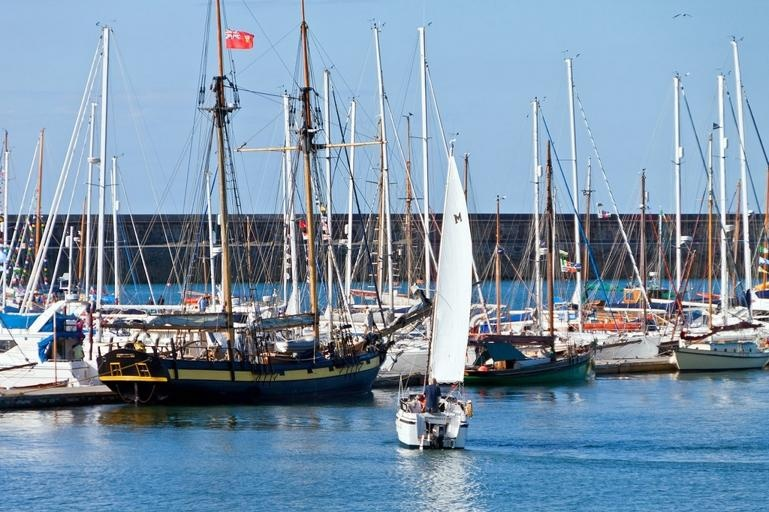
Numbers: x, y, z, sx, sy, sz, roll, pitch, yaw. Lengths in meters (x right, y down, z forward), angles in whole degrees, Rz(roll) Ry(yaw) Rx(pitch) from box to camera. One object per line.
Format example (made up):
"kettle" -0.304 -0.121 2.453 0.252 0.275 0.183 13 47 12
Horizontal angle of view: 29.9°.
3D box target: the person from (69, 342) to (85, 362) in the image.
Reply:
"person" -17.315 5.472 81.179 0.698 1.017 0.803 1 -7 -14

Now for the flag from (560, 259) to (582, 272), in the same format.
"flag" 12.963 0.769 99.327 1.026 0.983 0.082 1 -4 -2

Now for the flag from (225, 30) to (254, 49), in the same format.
"flag" -8.437 -12.660 84.335 1.452 1.128 3.099 -2 -6 -9

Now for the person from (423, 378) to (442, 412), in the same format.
"person" 2.318 6.693 69.147 0.755 1.724 0.444 -2 35 -5
